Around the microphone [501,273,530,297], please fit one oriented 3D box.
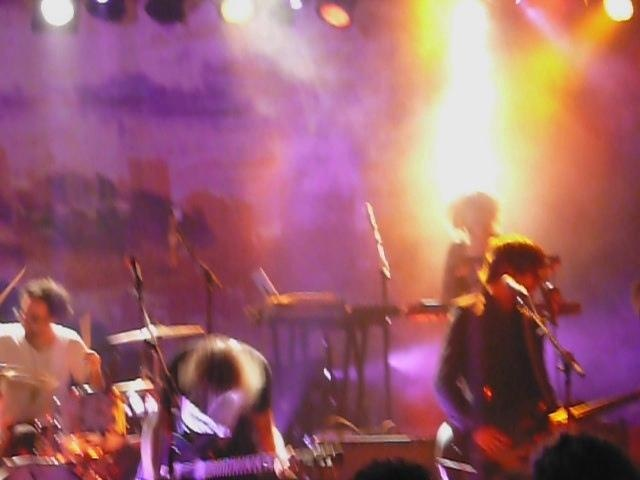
[{"bbox_3d":[1.137,0.266,3.822,0.029,0.125,0.126,-34,0,-8],"label":"microphone"}]
